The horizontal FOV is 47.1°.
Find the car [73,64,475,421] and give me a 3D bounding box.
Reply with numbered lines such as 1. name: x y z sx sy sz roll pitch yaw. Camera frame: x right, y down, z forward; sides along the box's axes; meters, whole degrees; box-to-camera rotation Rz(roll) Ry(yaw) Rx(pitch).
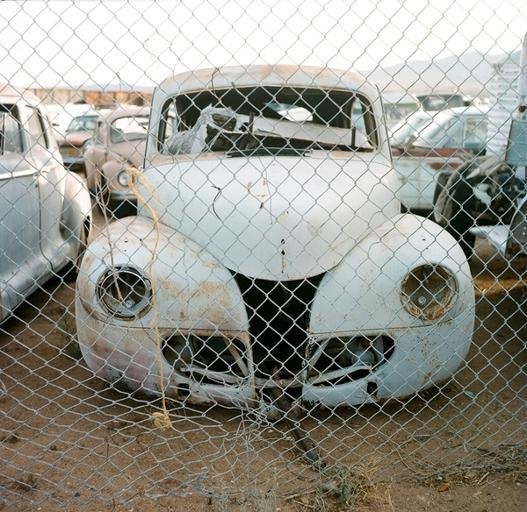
1. car: -0.014 -0.552 4.353 2.295 1.305 2.971 -2 29 -5
